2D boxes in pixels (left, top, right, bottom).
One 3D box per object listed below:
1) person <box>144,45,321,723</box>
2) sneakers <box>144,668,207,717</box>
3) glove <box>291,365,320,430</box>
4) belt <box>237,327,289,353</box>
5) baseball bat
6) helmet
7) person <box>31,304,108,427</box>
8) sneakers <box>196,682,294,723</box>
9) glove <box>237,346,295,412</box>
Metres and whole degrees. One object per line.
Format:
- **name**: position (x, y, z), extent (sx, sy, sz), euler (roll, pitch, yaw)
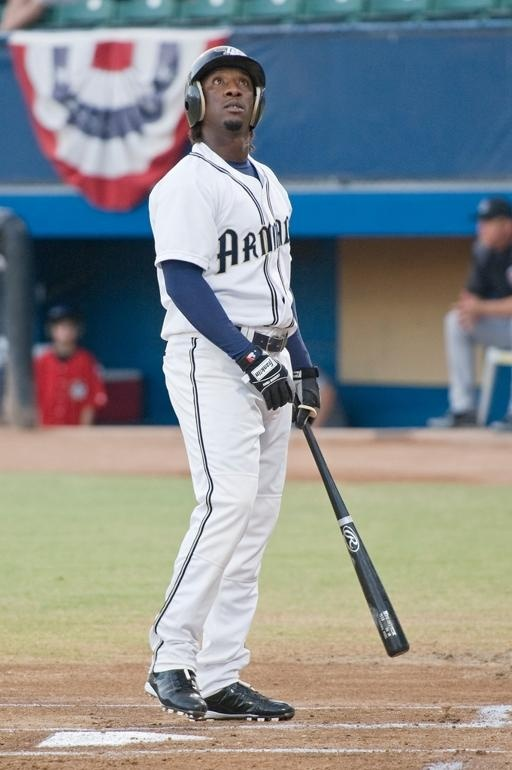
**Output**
- **person**: position (-0.062, 0.026, 2.700), extent (0.392, 1.567, 0.652), euler (-2, 9, 4)
- **sneakers**: position (-0.166, 0.650, 2.530), extent (0.061, 0.068, 0.165), euler (12, -2, -41)
- **glove**: position (0.123, 0.035, 2.898), extent (0.058, 0.043, 0.172), euler (-5, 37, 1)
- **belt**: position (0.021, -0.100, 2.718), extent (0.073, 0.023, 0.070), euler (10, -2, -31)
- **baseball bat**: position (0.395, 0.603, 4.784), extent (0.076, 0.740, 0.063), euler (-27, -21, -3)
- **helmet**: position (-0.067, -0.691, 2.748), extent (0.211, 0.169, 0.212), euler (1, 1, 30)
- **person**: position (-0.980, -0.046, 6.337), extent (0.340, 0.618, 1.209), euler (-3, 8, -7)
- **sneakers**: position (-0.025, 0.731, 2.753), extent (0.228, 0.080, 0.079), euler (1, -6, 1)
- **glove**: position (0.028, -0.013, 2.576), extent (0.094, 0.142, 0.040), euler (-42, 29, -26)
